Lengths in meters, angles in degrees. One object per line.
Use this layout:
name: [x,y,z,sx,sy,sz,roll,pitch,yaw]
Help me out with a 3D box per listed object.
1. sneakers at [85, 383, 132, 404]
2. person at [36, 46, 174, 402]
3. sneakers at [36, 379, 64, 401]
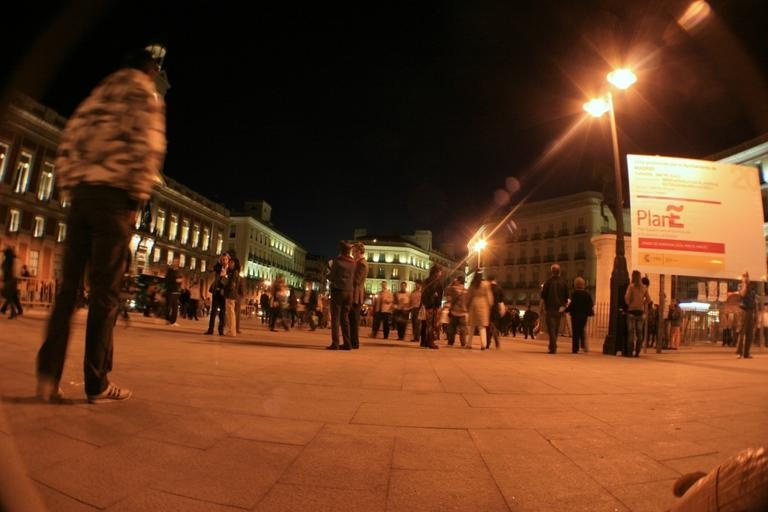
sneakers: [-2.372,1.191,4.120,0.278,0.124,0.116,7,-5,-42]
person: [-2.493,-0.376,4.216,0.851,3.246,0.392,2,-8,2]
sneakers: [-2.776,1.113,3.935,0.186,0.185,0.096,8,-10,-35]
